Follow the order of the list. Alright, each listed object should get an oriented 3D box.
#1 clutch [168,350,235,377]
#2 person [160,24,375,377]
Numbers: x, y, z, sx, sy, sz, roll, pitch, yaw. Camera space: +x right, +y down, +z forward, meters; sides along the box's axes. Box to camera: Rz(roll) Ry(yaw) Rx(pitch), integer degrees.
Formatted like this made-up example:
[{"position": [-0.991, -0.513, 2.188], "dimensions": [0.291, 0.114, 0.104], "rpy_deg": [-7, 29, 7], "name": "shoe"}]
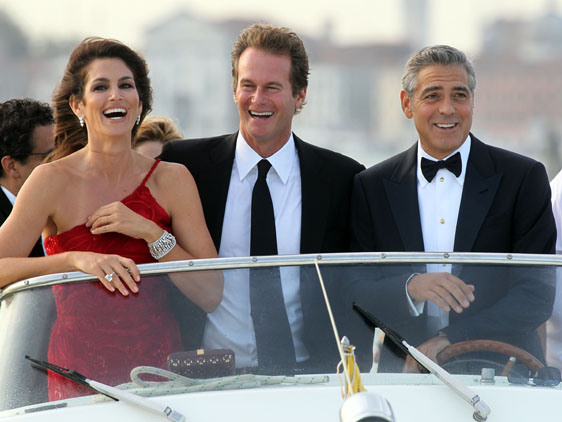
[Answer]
[{"position": [-0.483, 0.935, 7.517], "dimensions": [0.404, 0.158, 0.075], "rpy_deg": [0, 6, -1], "name": "clutch"}, {"position": [-0.028, -0.110, 8.414], "dimensions": [1.210, 2.718, 1.116], "rpy_deg": [-2, 7, -2], "name": "person"}]
